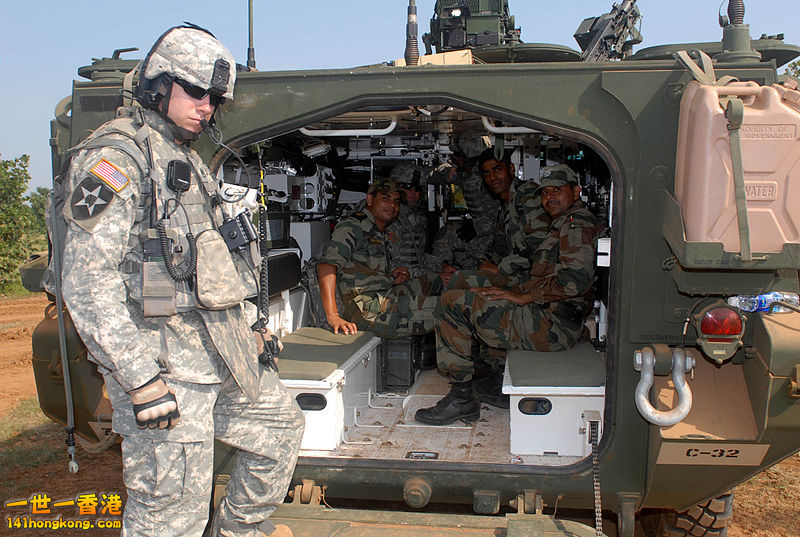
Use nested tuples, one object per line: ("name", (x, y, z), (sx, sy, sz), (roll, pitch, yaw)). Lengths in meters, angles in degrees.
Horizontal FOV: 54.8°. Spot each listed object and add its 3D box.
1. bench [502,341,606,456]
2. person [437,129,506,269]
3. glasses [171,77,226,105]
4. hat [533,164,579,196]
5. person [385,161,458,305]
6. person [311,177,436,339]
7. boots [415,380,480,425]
("bench", (1.012, 0.795, 4.916), (0.550, 0.398, 1.152), (5, 9, 14))
("person", (0.637, -0.642, 6.873), (0.618, 1.089, 0.609), (23, 36, 27))
("glasses", (-0.951, -0.832, 3.629), (0.135, 0.040, 0.121), (39, 17, 32))
("hat", (1.170, -0.659, 5.436), (0.330, 0.171, 0.238), (9, -6, -42))
("person", (0.273, -0.386, 6.997), (0.798, 1.175, 0.803), (-15, 17, -33))
("person", (-0.088, -0.082, 6.250), (1.180, 1.258, 0.988), (3, 0, -19))
("boots", (0.339, 0.912, 5.102), (0.501, 0.311, 0.197), (1, -5, -5))
